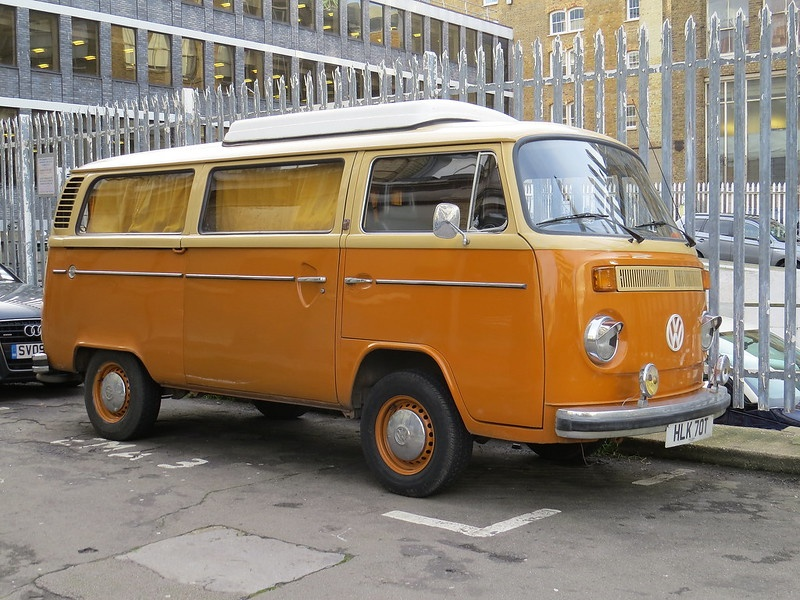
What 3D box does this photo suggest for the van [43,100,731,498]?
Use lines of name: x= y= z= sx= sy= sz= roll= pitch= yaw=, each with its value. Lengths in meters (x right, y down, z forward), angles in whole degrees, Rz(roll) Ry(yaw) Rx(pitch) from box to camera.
van: x=-0.459 y=-0.139 z=6.843 sx=6.209 sy=3.129 sz=3.187 roll=-1 pitch=0 yaw=38

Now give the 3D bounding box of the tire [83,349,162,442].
tire: x=-2.923 y=0.985 z=7.113 sx=0.960 sy=1.084 sz=0.351 roll=0 pitch=6 yaw=35

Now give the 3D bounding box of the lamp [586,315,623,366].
lamp: x=1.435 y=0.279 z=4.776 sx=0.300 sy=0.332 sz=0.077 roll=-1 pitch=3 yaw=-33

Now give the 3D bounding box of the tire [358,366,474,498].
tire: x=0.139 y=1.039 z=5.363 sx=1.009 sy=1.037 sz=0.358 roll=2 pitch=6 yaw=37

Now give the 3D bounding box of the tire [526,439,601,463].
tire: x=1.564 y=1.462 z=6.504 sx=0.437 sy=0.144 sz=0.441 roll=-2 pitch=-2 yaw=24
